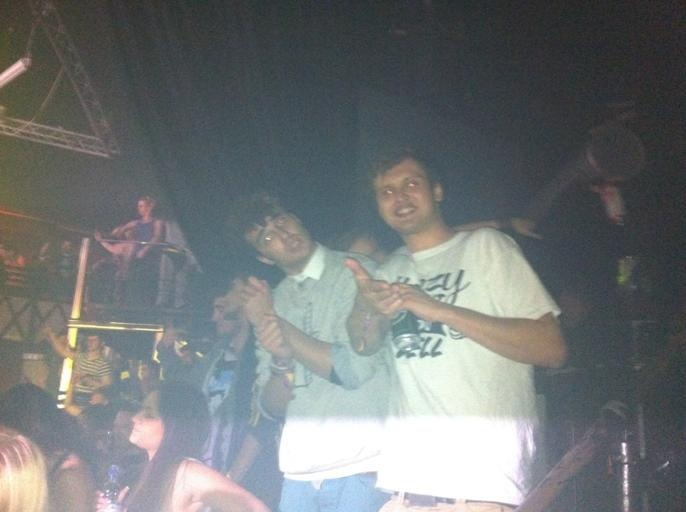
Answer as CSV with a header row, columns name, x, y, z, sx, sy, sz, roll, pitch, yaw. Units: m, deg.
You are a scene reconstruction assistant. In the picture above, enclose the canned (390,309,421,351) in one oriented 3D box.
name,x,y,z,sx,sy,sz,roll,pitch,yaw
canned,0.272,0.318,2.658,0.163,0.244,0.143,-3,-66,5
